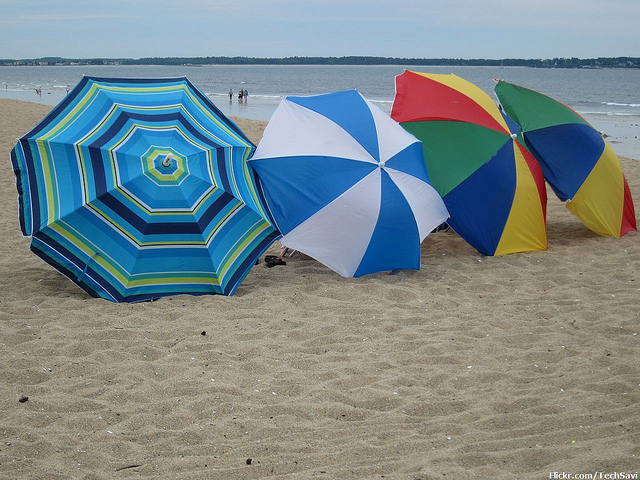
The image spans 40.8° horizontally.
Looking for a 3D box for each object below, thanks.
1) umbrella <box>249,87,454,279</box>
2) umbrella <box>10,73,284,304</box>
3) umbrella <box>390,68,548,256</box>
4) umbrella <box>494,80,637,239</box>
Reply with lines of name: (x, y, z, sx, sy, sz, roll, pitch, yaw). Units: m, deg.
umbrella: (0.306, -0.785, 10.453, 2.462, 2.319, 0.776, 0, -12, -27)
umbrella: (-2.533, -0.405, 10.443, 2.861, 2.706, 1.346, 3, -16, -28)
umbrella: (1.980, -1.147, 11.260, 2.308, 2.203, 0.733, 19, -31, -36)
umbrella: (3.385, -1.073, 11.646, 0.749, 2.482, 1.971, -26, 28, 38)
